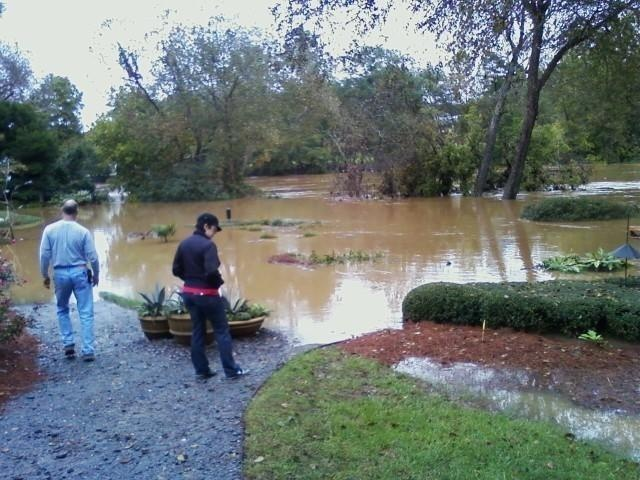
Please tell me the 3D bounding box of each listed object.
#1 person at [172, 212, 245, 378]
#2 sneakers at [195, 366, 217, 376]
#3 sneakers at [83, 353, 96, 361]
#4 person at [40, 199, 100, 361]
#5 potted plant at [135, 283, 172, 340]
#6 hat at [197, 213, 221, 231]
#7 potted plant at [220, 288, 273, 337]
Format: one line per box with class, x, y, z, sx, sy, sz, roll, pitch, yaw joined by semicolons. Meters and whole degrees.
person;-1.671;0.825;7.994;0.790;2.388;0.523;-3;1;27
sneakers;-1.695;1.931;8.045;0.204;0.093;0.123;-5;42;-15
sneakers;-3.673;1.852;8.713;0.194;0.147;0.186;-4;1;-32
person;-4.001;0.640;8.780;0.800;2.759;0.668;-3;1;26
potted plant;-3.011;1.330;10.076;0.847;1.100;0.864;0;-6;-7
hat;-1.639;-0.272;8.096;0.367;0.237;0.266;-5;10;-38
potted plant;-1.386;1.297;9.869;0.724;0.570;0.768;-1;3;37
